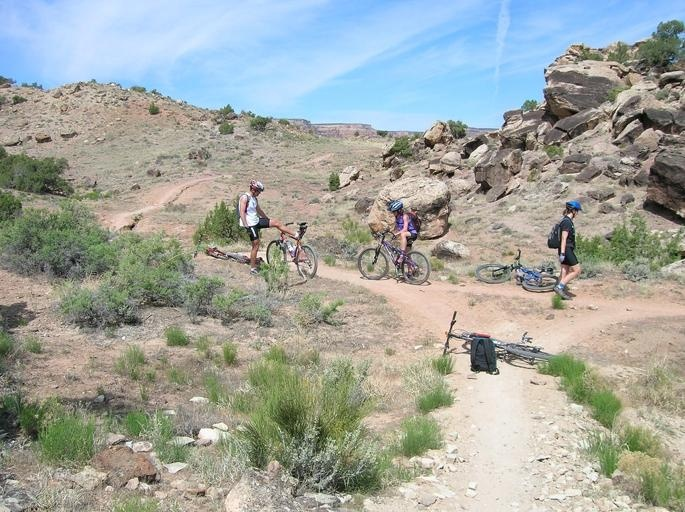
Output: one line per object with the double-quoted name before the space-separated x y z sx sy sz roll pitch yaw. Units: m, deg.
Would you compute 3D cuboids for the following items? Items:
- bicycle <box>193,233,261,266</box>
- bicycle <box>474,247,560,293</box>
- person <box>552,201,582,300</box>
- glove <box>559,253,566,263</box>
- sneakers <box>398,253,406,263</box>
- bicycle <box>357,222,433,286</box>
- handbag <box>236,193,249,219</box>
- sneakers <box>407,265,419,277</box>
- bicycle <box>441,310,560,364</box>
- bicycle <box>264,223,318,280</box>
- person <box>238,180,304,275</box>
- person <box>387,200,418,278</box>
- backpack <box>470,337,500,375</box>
"bicycle" -3.848 -0.231 19.781 1.533 0.494 0.447 23 41 11
"bicycle" 5.300 0.481 18.052 1.442 1.187 2.442 -30 30 -36
"person" 6.057 -0.189 16.313 0.640 2.630 0.938 -1 4 21
"glove" 5.876 0.040 16.118 0.063 0.205 0.153 3 1 -1
"sneakers" 1.713 0.036 17.743 0.206 0.264 0.101 17 15 11
"bicycle" 1.754 0.030 18.601 2.327 1.551 1.269 10 16 32
"handbag" -2.717 -1.345 16.370 0.256 0.748 0.271 -3 4 -7
"sneakers" 2.086 0.414 17.991 0.195 0.283 0.445 0 0 -7
"bicycle" 3.338 1.949 13.160 1.199 1.085 2.070 3 2 -18
"bicycle" -1.549 -0.232 17.894 1.106 1.409 2.170 -3 15 -37
"person" -2.269 -0.849 16.773 1.185 2.595 0.958 -3 4 -7
"person" 1.827 -0.587 17.937 0.835 2.127 0.692 -3 4 -6
"backpack" 2.868 2.052 12.302 0.659 0.801 0.430 3 5 34
